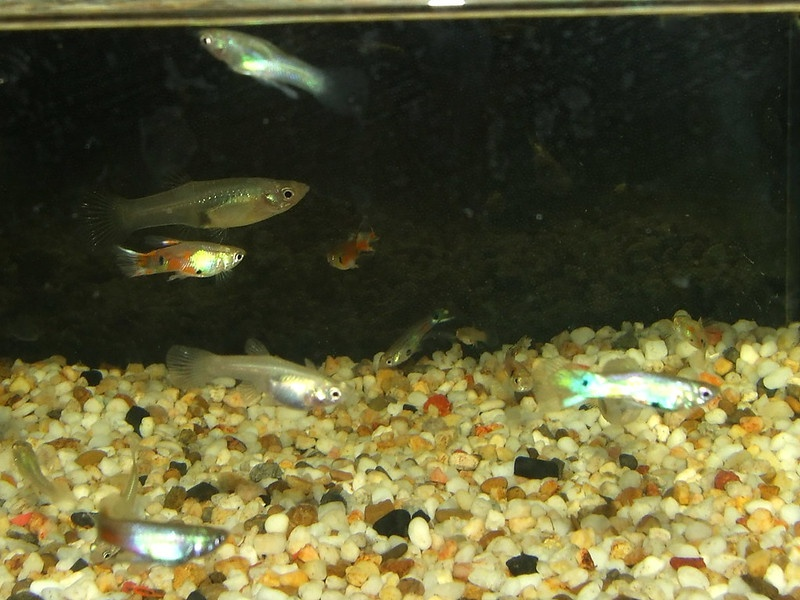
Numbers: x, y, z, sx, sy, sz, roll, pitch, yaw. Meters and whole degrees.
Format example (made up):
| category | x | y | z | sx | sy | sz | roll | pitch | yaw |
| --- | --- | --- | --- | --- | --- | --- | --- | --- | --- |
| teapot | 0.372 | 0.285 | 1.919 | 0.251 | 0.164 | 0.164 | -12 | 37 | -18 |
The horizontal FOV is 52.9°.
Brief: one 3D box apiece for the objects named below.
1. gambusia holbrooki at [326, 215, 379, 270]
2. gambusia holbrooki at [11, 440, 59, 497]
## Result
| category | x | y | z | sx | sy | sz | roll | pitch | yaw |
| --- | --- | --- | --- | --- | --- | --- | --- | --- | --- |
| gambusia holbrooki | -0.374 | -0.390 | 6.199 | 0.532 | 0.309 | 0.108 | -34 | 44 | -32 |
| gambusia holbrooki | -2.271 | 1.061 | 5.008 | 0.083 | 0.396 | 0.164 | -40 | 13 | 16 |
